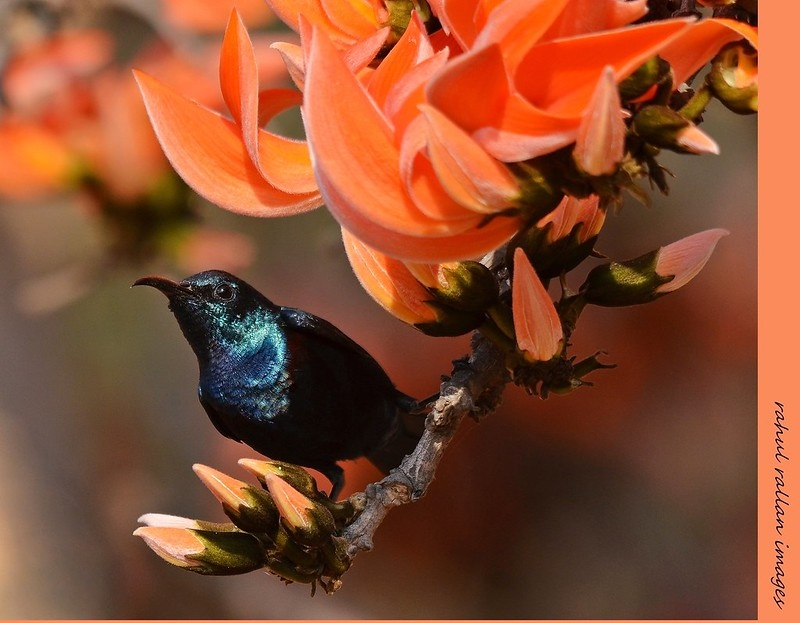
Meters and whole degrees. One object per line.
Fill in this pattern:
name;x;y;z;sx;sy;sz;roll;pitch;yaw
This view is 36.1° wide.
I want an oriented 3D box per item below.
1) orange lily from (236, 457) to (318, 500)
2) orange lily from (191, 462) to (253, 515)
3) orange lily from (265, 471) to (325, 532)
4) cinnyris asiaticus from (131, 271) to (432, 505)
orange lily;-0.120;0.165;1.245;0.106;0.031;0.036;16;70;-2
orange lily;-0.178;0.177;1.236;0.082;0.028;0.029;31;63;26
orange lily;-0.106;0.193;1.215;0.062;0.052;0.047;-4;9;-24
cinnyris asiaticus;-0.104;0.104;1.621;0.408;0.204;0.389;0;72;22
